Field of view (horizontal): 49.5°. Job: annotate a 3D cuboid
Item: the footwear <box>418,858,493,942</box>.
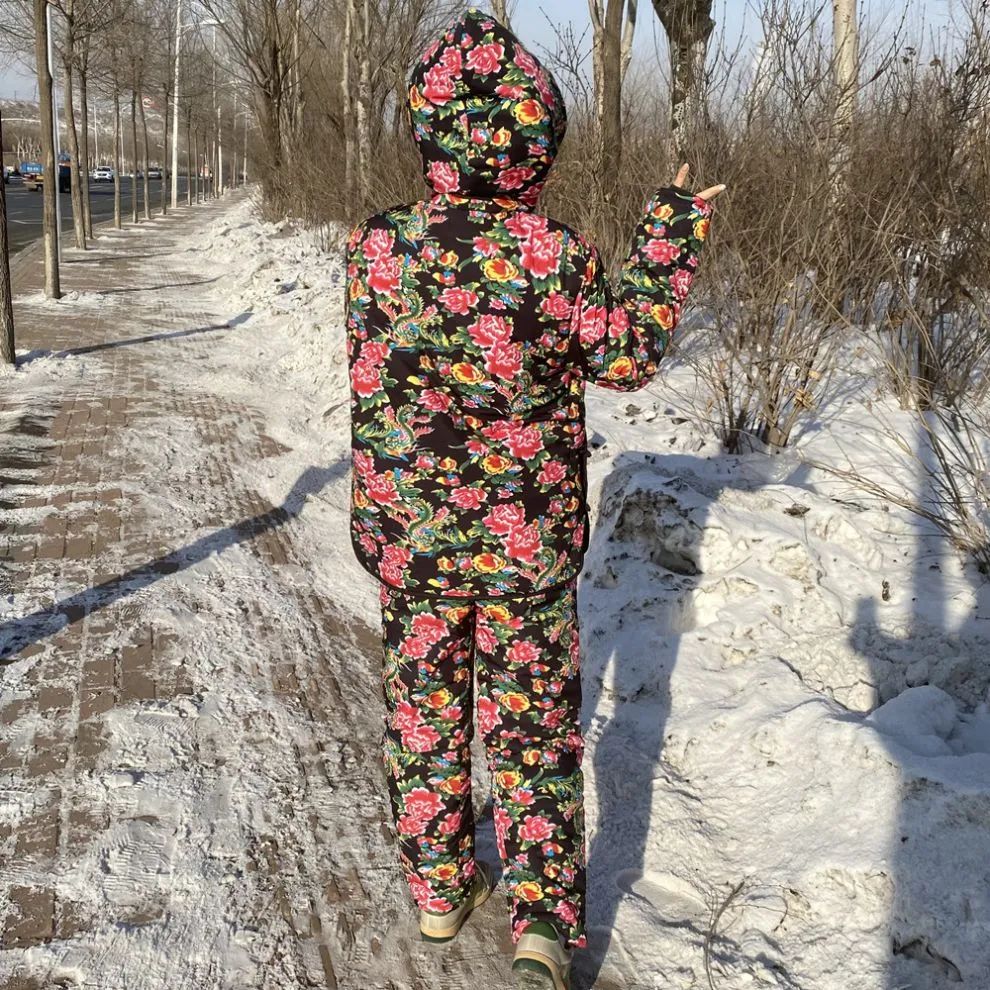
[{"bbox_3d":[-0.122,1.229,3.261,0.116,0.117,0.289,5,26,14],"label":"footwear"}]
